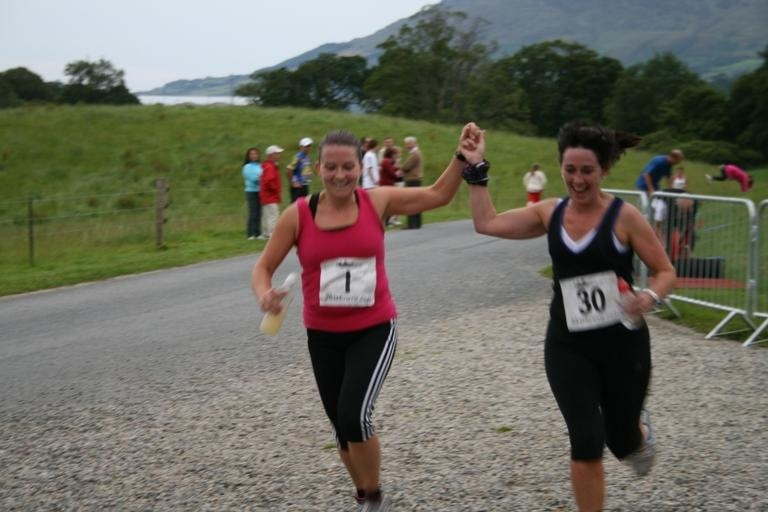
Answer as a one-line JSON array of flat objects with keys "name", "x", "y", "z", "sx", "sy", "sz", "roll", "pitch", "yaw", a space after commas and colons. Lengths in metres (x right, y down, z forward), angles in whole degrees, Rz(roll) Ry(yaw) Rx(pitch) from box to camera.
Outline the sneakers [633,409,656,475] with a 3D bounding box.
[{"name": "sneakers", "x": 1.843, "y": 1.211, "z": 4.461, "sx": 0.091, "sy": 0.179, "sz": 0.276, "roll": -11, "pitch": 1, "yaw": 29}]

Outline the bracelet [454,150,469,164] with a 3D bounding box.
[{"name": "bracelet", "x": 0.557, "y": -0.720, "z": 4.580, "sx": 0.104, "sy": 0.075, "sz": 0.099, "roll": 4, "pitch": 6, "yaw": 12}]

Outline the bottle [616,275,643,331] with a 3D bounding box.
[{"name": "bottle", "x": 1.598, "y": 0.318, "z": 4.113, "sx": 0.151, "sy": 0.336, "sz": 0.106, "roll": 0, "pitch": 14, "yaw": 19}]

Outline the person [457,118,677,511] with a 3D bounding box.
[{"name": "person", "x": 1.241, "y": 0.318, "z": 4.305, "sx": 1.001, "sy": 2.391, "sz": 0.998, "roll": -16, "pitch": 18, "yaw": -40}]

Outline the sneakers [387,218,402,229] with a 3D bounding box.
[{"name": "sneakers", "x": 0.312, "y": -0.966, "z": 18.422, "sx": 0.204, "sy": 0.222, "sz": 0.571, "roll": -2, "pitch": -1, "yaw": -32}]
